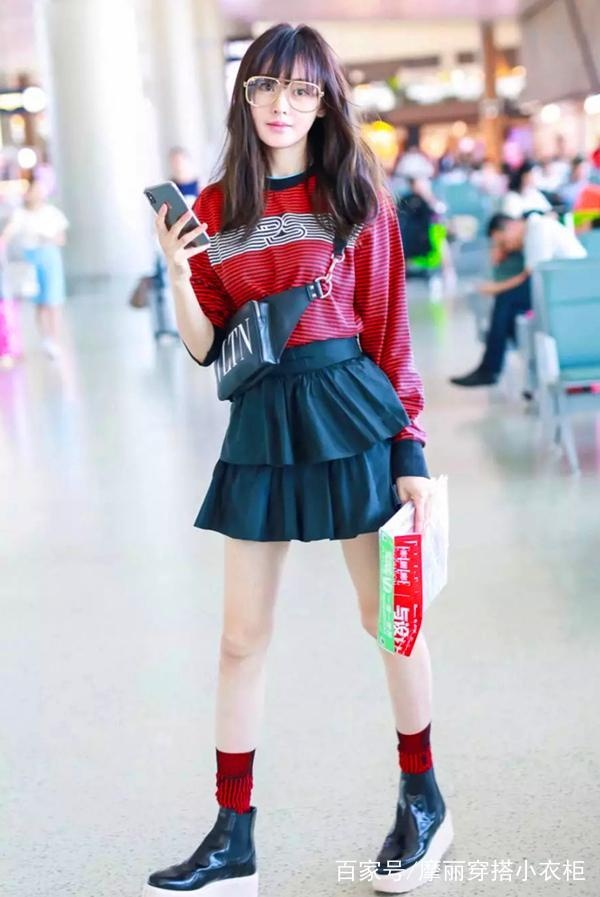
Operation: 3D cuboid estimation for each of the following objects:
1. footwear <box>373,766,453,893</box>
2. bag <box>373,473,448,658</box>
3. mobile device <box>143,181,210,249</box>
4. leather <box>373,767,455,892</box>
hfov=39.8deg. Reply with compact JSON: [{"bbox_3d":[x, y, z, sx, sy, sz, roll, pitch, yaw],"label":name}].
[{"bbox_3d":[0.183,0.585,1.287,0.078,0.133,0.208,-6,4,26],"label":"footwear"},{"bbox_3d":[0.165,0.184,1.232,0.095,0.272,0.226,-1,14,14],"label":"bag"},{"bbox_3d":[-0.167,-0.314,1.125,0.069,0.089,0.101,-7,14,-13],"label":"mobile device"},{"bbox_3d":[0.172,0.589,1.296,0.078,0.134,0.208,-6,5,26],"label":"leather"}]
